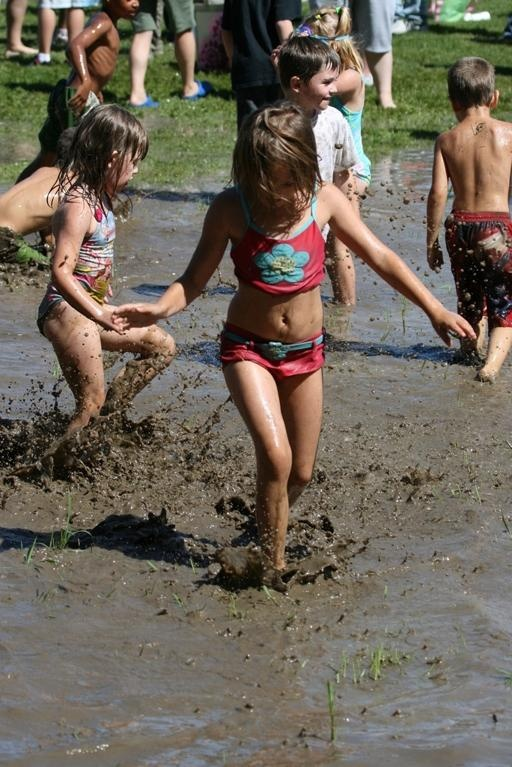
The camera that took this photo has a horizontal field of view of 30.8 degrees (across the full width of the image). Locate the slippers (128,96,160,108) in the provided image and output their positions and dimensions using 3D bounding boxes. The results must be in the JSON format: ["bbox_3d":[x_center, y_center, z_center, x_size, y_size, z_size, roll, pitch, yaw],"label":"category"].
[{"bbox_3d":[-1.530,-3.899,13.007,0.470,0.155,0.167,-4,12,-31],"label":"slippers"}]

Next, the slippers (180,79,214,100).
[{"bbox_3d":[-0.677,-3.946,12.527,0.226,0.246,0.619,15,27,40],"label":"slippers"}]
